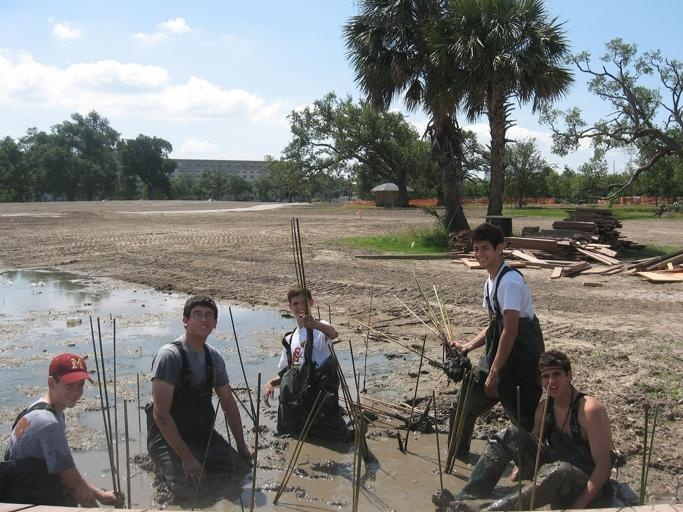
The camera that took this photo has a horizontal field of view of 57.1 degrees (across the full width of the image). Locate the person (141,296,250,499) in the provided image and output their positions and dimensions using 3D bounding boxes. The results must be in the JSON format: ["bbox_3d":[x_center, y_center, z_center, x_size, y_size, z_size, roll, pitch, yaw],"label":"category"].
[{"bbox_3d":[-1.389,1.355,6.085,0.934,1.921,0.639,-1,3,-18],"label":"person"}]

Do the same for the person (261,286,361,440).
[{"bbox_3d":[-0.333,1.198,6.869,0.883,1.669,0.509,0,3,1],"label":"person"}]

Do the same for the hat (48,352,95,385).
[{"bbox_3d":[-2.334,0.961,5.395,0.311,0.182,0.224,1,1,24],"label":"hat"}]
